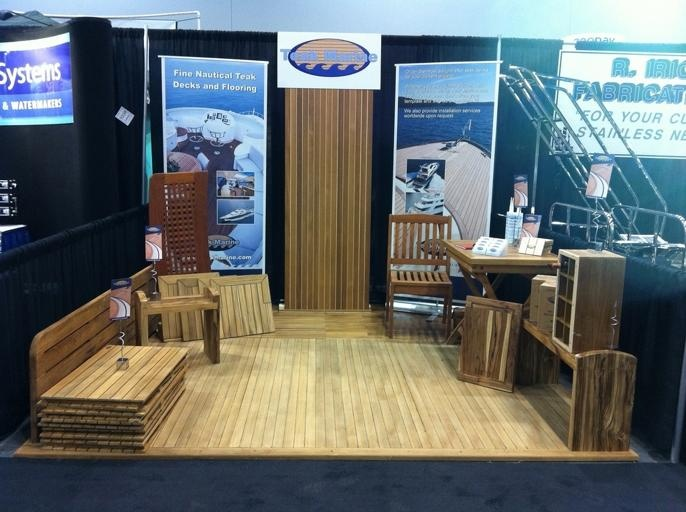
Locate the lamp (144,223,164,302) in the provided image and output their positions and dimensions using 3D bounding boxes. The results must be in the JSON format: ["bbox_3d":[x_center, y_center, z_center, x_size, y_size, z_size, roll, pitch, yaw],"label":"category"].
[{"bbox_3d":[-1.462,0.054,4.046,0.138,0.602,0.110,-5,-11,3],"label":"lamp"}]

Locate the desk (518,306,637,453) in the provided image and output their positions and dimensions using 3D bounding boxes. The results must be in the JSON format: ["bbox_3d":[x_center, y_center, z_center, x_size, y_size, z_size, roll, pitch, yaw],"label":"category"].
[{"bbox_3d":[1.458,0.770,3.212,0.275,0.499,0.783,-2,10,-1],"label":"desk"}]

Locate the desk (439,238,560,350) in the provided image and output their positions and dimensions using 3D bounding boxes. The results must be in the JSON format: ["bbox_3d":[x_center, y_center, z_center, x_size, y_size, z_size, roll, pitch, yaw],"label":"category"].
[{"bbox_3d":[1.216,0.267,4.281,0.809,0.688,0.792,-4,17,-18],"label":"desk"}]
